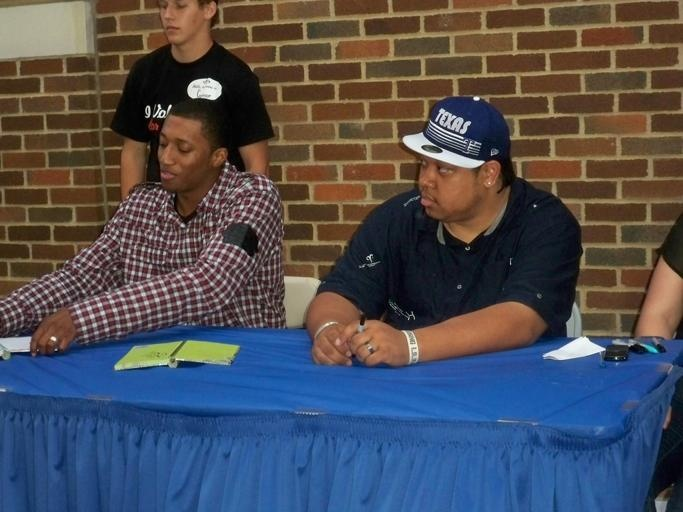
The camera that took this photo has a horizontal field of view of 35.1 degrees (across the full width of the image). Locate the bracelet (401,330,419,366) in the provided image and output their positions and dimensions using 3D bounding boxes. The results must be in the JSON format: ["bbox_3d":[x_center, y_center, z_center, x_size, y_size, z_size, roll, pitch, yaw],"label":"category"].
[{"bbox_3d":[0.218,0.277,3.250,0.084,0.081,0.069,-8,38,-4],"label":"bracelet"}]

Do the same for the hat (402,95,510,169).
[{"bbox_3d":[0.410,-0.435,3.576,0.385,0.203,0.303,-8,31,-26],"label":"hat"}]

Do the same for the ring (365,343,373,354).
[{"bbox_3d":[0.092,0.276,3.176,0.020,0.026,0.029,-4,-2,3],"label":"ring"}]

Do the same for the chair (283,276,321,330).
[{"bbox_3d":[-0.153,0.166,4.052,0.167,0.191,0.183,0,-8,6],"label":"chair"}]
